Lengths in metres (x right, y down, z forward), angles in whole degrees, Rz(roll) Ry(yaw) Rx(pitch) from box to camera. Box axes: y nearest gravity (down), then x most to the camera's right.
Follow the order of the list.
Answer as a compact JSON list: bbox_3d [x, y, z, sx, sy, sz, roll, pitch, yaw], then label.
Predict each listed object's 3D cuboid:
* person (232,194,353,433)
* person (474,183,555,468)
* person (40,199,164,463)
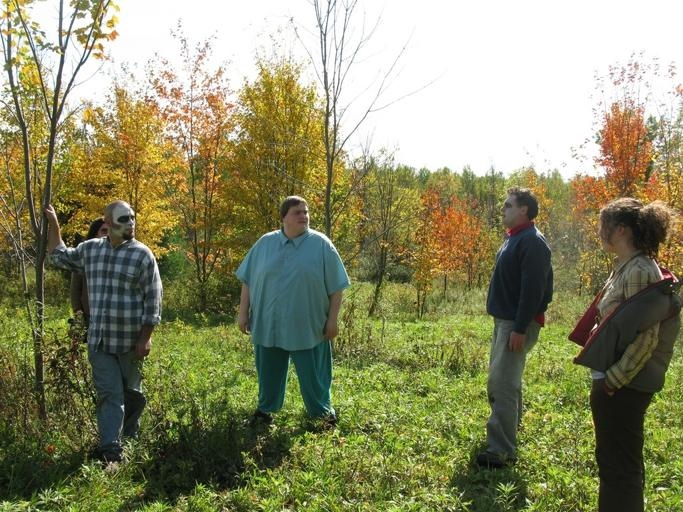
[{"bbox_3d":[-0.571,0.638,8.075,1.301,2.695,0.606,2,0,-4],"label":"person"},{"bbox_3d":[1.973,0.765,7.548,0.702,2.904,0.562,2,0,17],"label":"person"},{"bbox_3d":[-2.638,0.785,7.508,1.140,3.009,0.585,2,0,13],"label":"person"}]
